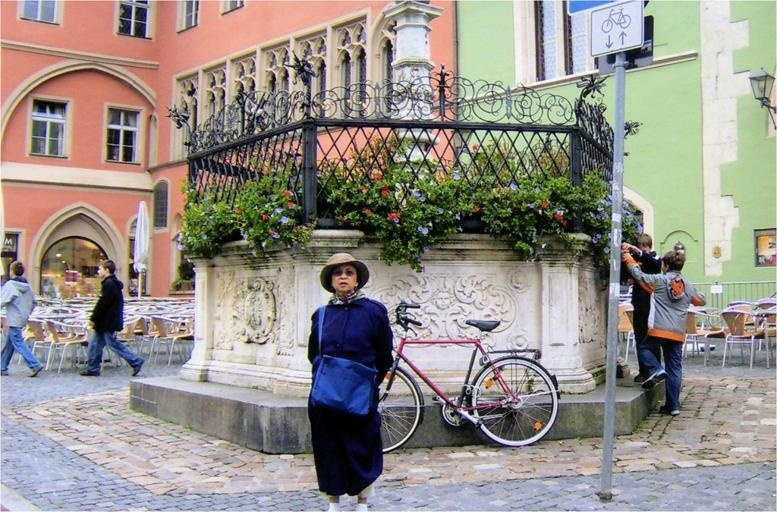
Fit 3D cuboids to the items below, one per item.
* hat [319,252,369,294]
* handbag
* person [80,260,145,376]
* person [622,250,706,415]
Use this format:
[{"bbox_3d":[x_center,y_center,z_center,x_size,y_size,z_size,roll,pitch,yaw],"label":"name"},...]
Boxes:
[{"bbox_3d":[-0.584,0.196,12.562,0.559,0.261,0.547,0,-42,-3],"label":"hat"},{"bbox_3d":[-0.541,1.633,12.035,0.682,0.547,0.261,16,-12,-1],"label":"handbag"},{"bbox_3d":[-5.513,1.229,19.084,1.083,2.231,1.097,0,-3,-18],"label":"person"},{"bbox_3d":[4.352,1.198,15.227,1.218,2.636,0.579,0,-3,-21],"label":"person"}]
